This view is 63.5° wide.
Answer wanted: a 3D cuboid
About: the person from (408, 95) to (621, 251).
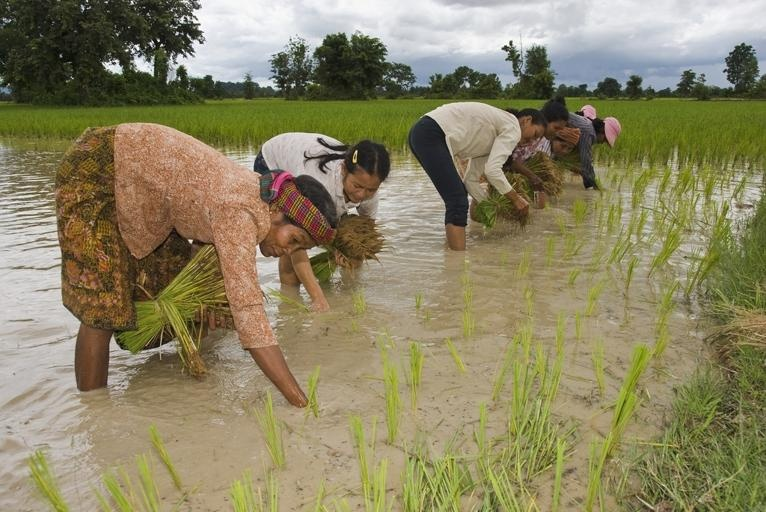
[{"bbox_3d":[0.995,-0.903,6.625,1.199,1.460,0.840,-16,22,-34],"label":"person"}]
